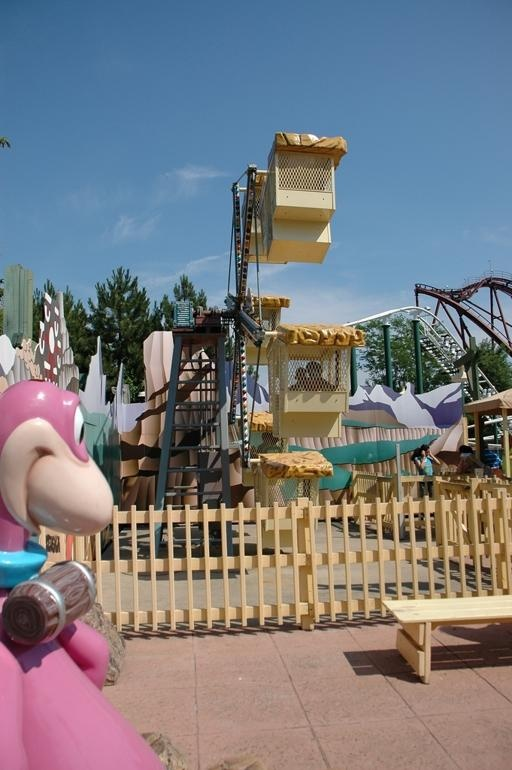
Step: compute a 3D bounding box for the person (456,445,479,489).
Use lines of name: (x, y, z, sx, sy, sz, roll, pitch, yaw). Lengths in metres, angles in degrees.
person: (3.558, 1.377, 12.012, 0.467, 0.789, 0.526, 0, 6, 4)
